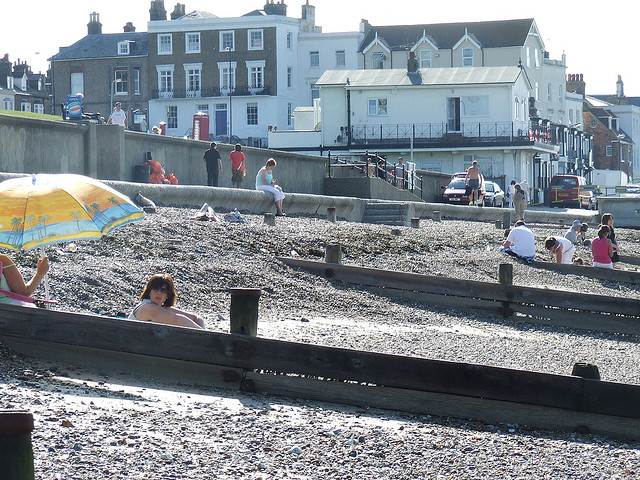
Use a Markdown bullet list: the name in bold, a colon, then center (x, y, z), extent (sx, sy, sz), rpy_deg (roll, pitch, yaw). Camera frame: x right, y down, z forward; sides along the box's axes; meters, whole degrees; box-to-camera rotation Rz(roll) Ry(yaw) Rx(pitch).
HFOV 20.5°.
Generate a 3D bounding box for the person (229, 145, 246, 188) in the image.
- **person**: center (-2.815, -2.561, 60.818), extent (0.468, 1.462, 0.822), rpy_deg (1, 3, -4)

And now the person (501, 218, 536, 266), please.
- **person**: center (6.186, 0.008, 55.016), extent (0.934, 1.405, 0.899), rpy_deg (2, 8, 25)

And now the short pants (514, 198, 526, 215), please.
- **short pants**: center (7.432, -1.331, 66.547), extent (0.367, 0.251, 0.785), rpy_deg (12, -38, 19)

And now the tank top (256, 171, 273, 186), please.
- **tank top**: center (-1.808, -2.080, 58.279), extent (0.491, 0.437, 0.526), rpy_deg (1, 3, -3)

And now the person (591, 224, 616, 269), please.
- **person**: center (8.554, 0.163, 53.888), extent (0.672, 1.319, 1.249), rpy_deg (2, 3, 9)

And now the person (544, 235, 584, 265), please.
- **person**: center (7.387, 0.285, 54.460), extent (1.162, 0.804, 1.582), rpy_deg (3, 4, 28)

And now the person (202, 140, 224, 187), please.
- **person**: center (-3.671, -2.642, 61.033), extent (0.655, 1.527, 1.932), rpy_deg (1, 3, -4)

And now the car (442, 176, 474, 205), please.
- **car**: center (5.800, -2.106, 74.712), extent (1.337, 1.059, 2.385), rpy_deg (0, -1, 10)

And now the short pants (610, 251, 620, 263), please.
- **short pants**: center (8.942, 0.476, 54.326), extent (0.222, 0.421, 0.241), rpy_deg (-13, 17, -37)

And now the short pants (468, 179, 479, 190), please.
- **short pants**: center (6.171, -2.314, 71.780), extent (0.433, 0.633, 0.358), rpy_deg (1, -2, -1)
